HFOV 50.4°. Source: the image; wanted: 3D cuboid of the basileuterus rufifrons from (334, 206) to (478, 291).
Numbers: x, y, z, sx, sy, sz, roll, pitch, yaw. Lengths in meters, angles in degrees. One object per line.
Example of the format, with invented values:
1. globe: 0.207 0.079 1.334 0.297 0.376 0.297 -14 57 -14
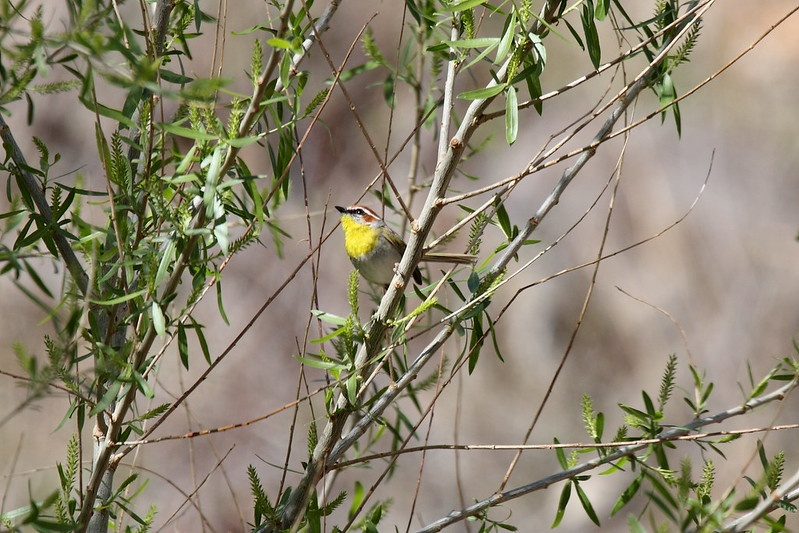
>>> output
1. basileuterus rufifrons: 0.000 -0.049 5.610 1.066 0.637 0.305 9 -16 -44
